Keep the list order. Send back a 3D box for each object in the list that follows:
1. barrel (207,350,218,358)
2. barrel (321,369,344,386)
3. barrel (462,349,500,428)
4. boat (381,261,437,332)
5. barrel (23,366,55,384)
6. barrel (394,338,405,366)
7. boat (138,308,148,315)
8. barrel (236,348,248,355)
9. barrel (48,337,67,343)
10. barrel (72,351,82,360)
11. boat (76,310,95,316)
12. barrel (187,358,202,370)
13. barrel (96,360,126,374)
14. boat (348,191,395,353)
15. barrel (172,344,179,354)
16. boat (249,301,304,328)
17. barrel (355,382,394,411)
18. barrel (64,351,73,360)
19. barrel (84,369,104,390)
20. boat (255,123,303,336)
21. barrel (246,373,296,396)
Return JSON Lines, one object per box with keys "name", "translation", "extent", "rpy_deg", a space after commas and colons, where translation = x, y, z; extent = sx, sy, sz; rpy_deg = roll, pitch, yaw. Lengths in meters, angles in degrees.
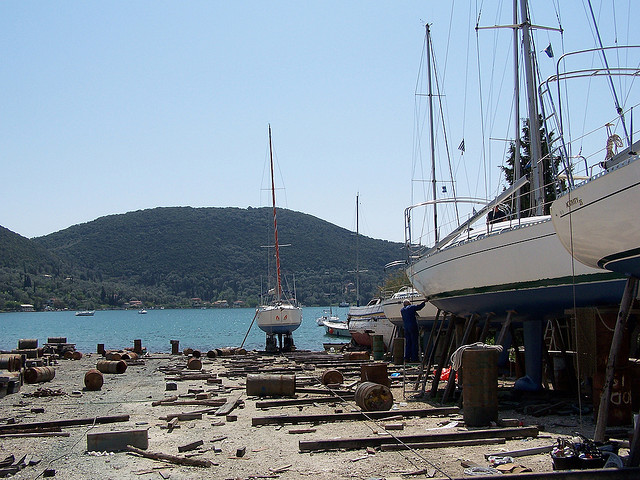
{"name": "barrel", "translation": [-5.019, 5.307, 28.710], "extent": [0.301, 0.327, 0.296], "rpy_deg": [13, -4, -2]}
{"name": "barrel", "translation": [0.347, 3.780, 16.914], "extent": [0.548, 0.411, 0.663], "rpy_deg": [-1, -12, -2]}
{"name": "barrel", "translation": [2.992, 2.744, 11.434], "extent": [0.662, 1.385, 0.321], "rpy_deg": [-4, -11, 16]}
{"name": "boat", "translation": [3.591, 2.757, 27.390], "extent": [3.034, 1.280, 1.016], "rpy_deg": [-13, -3, 0]}
{"name": "barrel", "translation": [-8.664, 4.162, 18.912], "extent": [0.506, 0.486, 0.941], "rpy_deg": [-3, -12, 9]}
{"name": "barrel", "translation": [2.786, 3.910, 21.562], "extent": [0.306, 0.875, 0.682], "rpy_deg": [-1, -11, 4]}
{"name": "boat", "translation": [-44.005, 18.170, 153.391], "extent": [1.765, 1.220, 3.167], "rpy_deg": [2, 2, -6]}
{"name": "barrel", "translation": [-3.938, 5.620, 30.936], "extent": [0.415, 0.286, 0.412], "rpy_deg": [-4, -6, 0]}
{"name": "barrel", "translation": [-13.070, 4.972, 30.514], "extent": [1.047, 0.253, 0.595], "rpy_deg": [-1, -12, 1]}
{"name": "barrel", "translation": [-11.386, 5.403, 28.853], "extent": [0.270, 0.297, 0.309], "rpy_deg": [-1, 0, -1]}
{"name": "boat", "translation": [-55.150, 17.300, 143.838], "extent": [4.059, 0.924, 2.178], "rpy_deg": [-2, -12, 5]}
{"name": "barrel", "translation": [-4.534, 4.460, 22.287], "extent": [0.378, 0.406, 0.408], "rpy_deg": [-15, 0, -6]}
{"name": "barrel", "translation": [-7.343, 4.465, 21.573], "extent": [1.055, 0.449, 0.520], "rpy_deg": [-7, -13, 25]}
{"name": "boat", "translation": [2.749, 4.804, 34.334], "extent": [1.299, 3.166, 10.944], "rpy_deg": [0, -12, -2]}
{"name": "barrel", "translation": [-7.500, 5.652, 31.919], "extent": [0.273, 0.497, 0.466], "rpy_deg": [3, -12, -17]}
{"name": "boat", "translation": [-2.279, 4.302, 35.973], "extent": [2.358, 1.752, 3.126], "rpy_deg": [-1, -12, 2]}
{"name": "barrel", "translation": [1.119, 3.272, 12.884], "extent": [0.536, 0.571, 0.611], "rpy_deg": [-2, -5, -35]}
{"name": "barrel", "translation": [-11.754, 5.396, 28.842], "extent": [0.298, 0.327, 0.231], "rpy_deg": [2, -7, -2]}
{"name": "barrel", "translation": [-6.440, 3.984, 17.518], "extent": [0.468, 0.526, 0.501], "rpy_deg": [4, -12, -23]}
{"name": "boat", "translation": [-6.874, 4.071, 102.507], "extent": [3.828, 28.187, 2.763], "rpy_deg": [-1, -3, 1]}
{"name": "barrel", "translation": [-1.216, 3.593, 15.213], "extent": [1.178, 0.506, 0.506], "rpy_deg": [0, -11, -4]}
